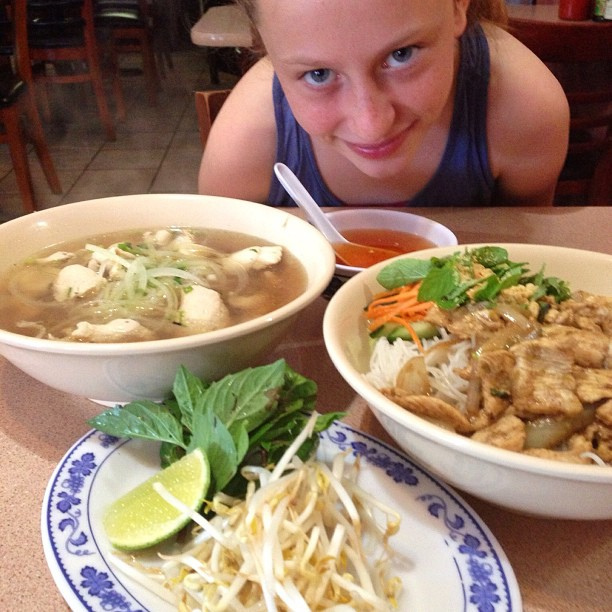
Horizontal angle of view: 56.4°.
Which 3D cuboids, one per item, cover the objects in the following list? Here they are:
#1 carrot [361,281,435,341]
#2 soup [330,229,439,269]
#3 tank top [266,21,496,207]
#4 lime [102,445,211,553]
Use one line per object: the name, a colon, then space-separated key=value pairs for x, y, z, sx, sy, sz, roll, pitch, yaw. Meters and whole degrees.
carrot: x=0.153 y=-0.009 z=0.988 sx=0.135 sy=0.038 sz=0.108 roll=4 pitch=34 yaw=38
soup: x=0.160 y=-0.140 z=1.367 sx=0.161 sy=0.031 sz=0.148 roll=18 pitch=35 yaw=29
tank top: x=0.289 y=-0.609 z=1.963 sx=0.821 sy=0.636 sz=0.312 roll=0 pitch=40 yaw=4
lime: x=-0.179 y=0.248 z=0.716 sx=0.151 sy=0.083 sz=0.103 roll=-18 pitch=39 yaw=-20
